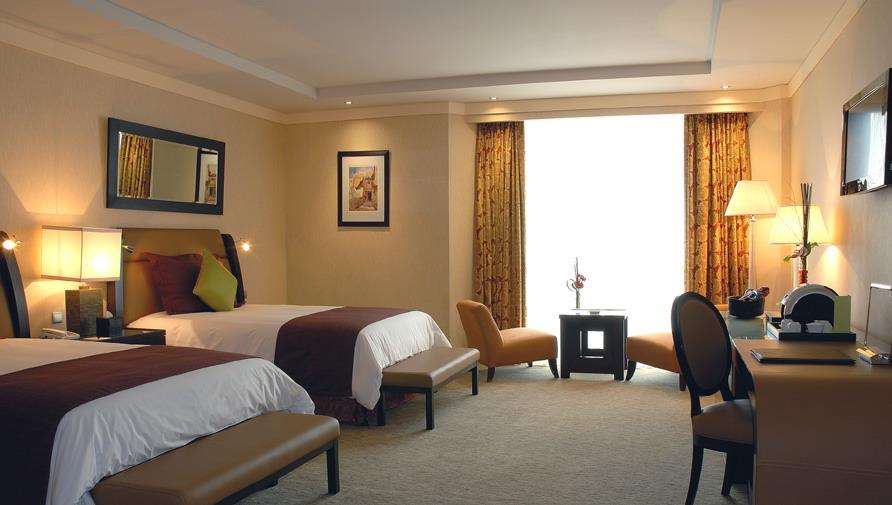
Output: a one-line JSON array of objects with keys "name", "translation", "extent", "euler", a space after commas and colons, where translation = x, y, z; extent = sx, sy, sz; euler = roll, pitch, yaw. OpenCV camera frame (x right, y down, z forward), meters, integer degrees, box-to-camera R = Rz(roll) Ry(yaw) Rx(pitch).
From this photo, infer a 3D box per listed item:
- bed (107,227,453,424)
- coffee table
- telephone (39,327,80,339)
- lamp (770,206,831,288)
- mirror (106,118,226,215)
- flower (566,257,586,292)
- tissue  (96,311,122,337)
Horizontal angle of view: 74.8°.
[{"name": "bed", "translation": [-1.967, 0.718, 7.206], "extent": [3.300, 1.712, 2.194], "euler": [0, 1, 15]}, {"name": "coffee table", "translation": [2.006, 1.235, 7.952], "extent": [0.903, 0.802, 0.887], "euler": [-1, -1, 17]}, {"name": "telephone", "translation": [-4.048, 0.870, 6.137], "extent": [0.252, 0.077, 0.182], "euler": [-2, -3, 6]}, {"name": "lamp", "translation": [3.944, -0.021, 6.457], "extent": [0.660, 1.074, 0.638], "euler": [-5, 13, 26]}, {"name": "mirror", "translation": [-3.499, -1.014, 7.340], "extent": [1.705, 1.076, 0.071], "euler": [9, 11, 11]}, {"name": "flower", "translation": [1.845, 0.326, 8.179], "extent": [0.303, 0.496, 0.632], "euler": [2, 11, 13]}, {"name": "tissue ", "translation": [-3.596, 0.727, 6.279], "extent": [0.340, 0.310, 0.187], "euler": [3, 4, 34]}]
